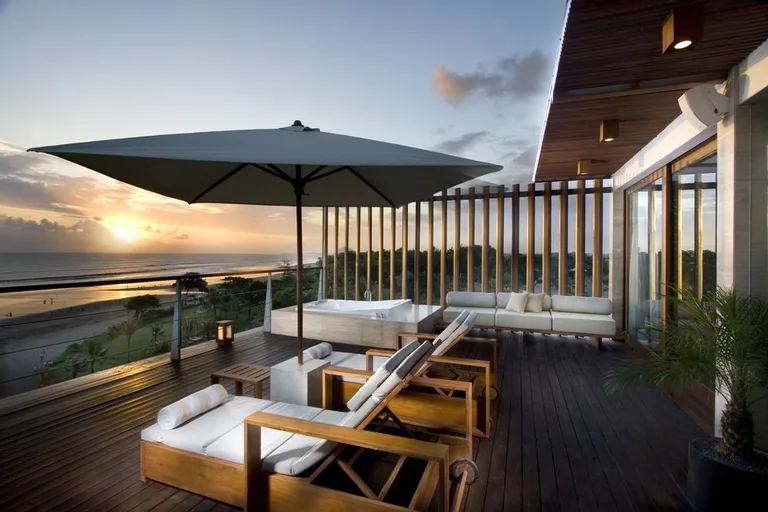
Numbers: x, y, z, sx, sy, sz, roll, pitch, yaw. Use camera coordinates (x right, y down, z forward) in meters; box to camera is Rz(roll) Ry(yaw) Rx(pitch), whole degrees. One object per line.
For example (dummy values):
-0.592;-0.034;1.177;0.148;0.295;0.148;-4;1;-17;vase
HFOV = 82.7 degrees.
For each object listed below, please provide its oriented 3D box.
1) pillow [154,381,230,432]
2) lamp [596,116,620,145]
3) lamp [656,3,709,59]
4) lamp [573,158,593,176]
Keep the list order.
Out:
-1.981;1.568;4.737;0.702;0.387;0.659;10;6;22;pillow
3.189;-1.769;6.146;0.293;0.389;0.298;3;9;34;lamp
3.046;-2.318;4.518;0.303;0.381;0.368;10;5;8;lamp
3.505;-1.547;7.602;0.271;0.248;0.276;-1;2;4;lamp
